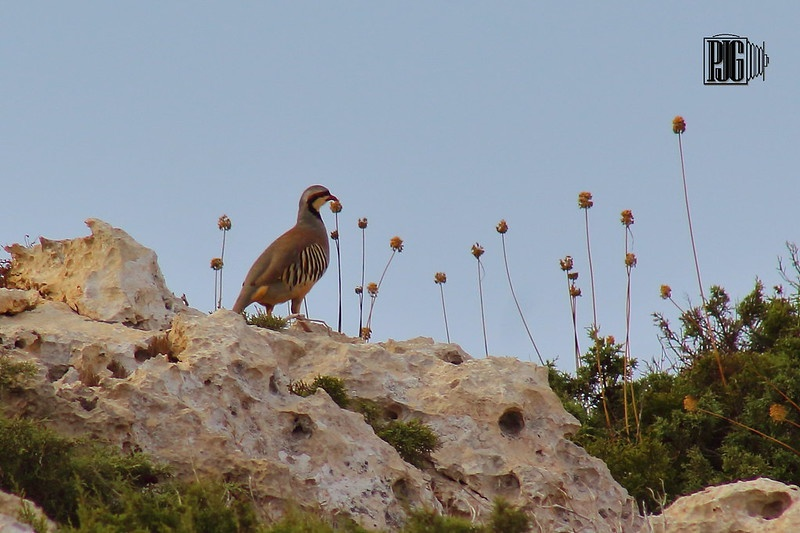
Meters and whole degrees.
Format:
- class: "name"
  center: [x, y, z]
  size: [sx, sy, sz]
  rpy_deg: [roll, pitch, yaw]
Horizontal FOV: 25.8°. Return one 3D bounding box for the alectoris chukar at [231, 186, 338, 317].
- class: "alectoris chukar"
  center: [-1.484, -0.121, 23.608]
  size: [1.690, 2.021, 0.764]
  rpy_deg: [3, -10, -37]
